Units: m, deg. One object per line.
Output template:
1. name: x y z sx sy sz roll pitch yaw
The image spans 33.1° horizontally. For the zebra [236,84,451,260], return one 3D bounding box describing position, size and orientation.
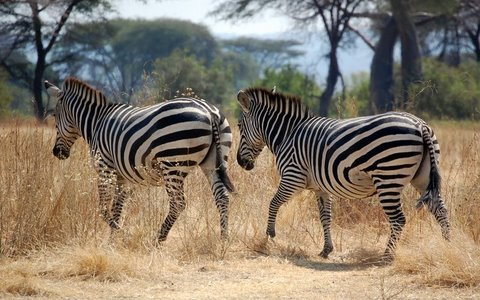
1. zebra: 2.504 0.614 22.409 6.111 4.802 1.855 -1 6 27
